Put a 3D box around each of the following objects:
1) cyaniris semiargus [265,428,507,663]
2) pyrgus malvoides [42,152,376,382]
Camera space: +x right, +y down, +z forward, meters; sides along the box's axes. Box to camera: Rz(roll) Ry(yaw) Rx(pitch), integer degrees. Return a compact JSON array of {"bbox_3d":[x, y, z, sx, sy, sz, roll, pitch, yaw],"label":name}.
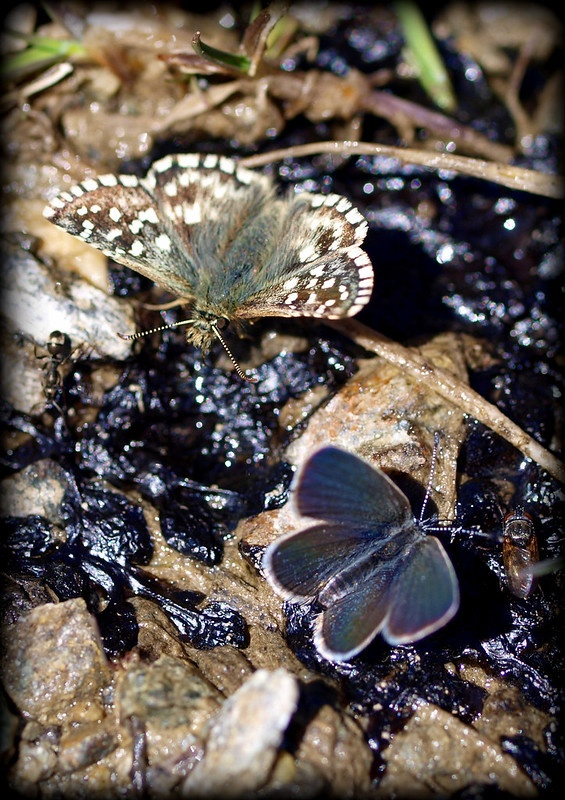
[{"bbox_3d":[0.367,0.704,3.438,0.726,0.710,0.827,-31,56,-21],"label":"cyaniris semiargus"},{"bbox_3d":[-0.261,-0.767,4.038,1.614,0.661,0.880,26,56,22],"label":"pyrgus malvoides"}]
